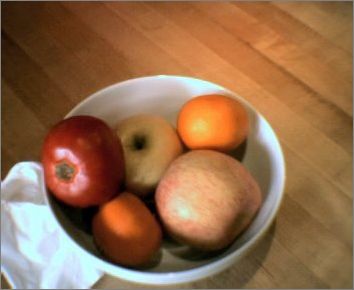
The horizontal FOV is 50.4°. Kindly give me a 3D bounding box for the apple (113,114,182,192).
[{"bbox_3d":[-0.060,0.009,0.701,0.104,0.124,0.145,-4,71,-7],"label":"apple"}]

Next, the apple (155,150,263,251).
[{"bbox_3d":[0.054,0.107,0.708,0.153,0.170,0.212,-2,91,32],"label":"apple"}]

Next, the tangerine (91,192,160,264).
[{"bbox_3d":[-0.083,0.147,0.645,0.083,0.092,0.130,-23,80,-6],"label":"tangerine"}]

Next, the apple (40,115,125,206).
[{"bbox_3d":[-0.163,0.028,0.654,0.136,0.083,0.146,-8,72,0],"label":"apple"}]

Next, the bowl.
[{"bbox_3d":[0.043,0.040,0.690,0.319,0.153,0.416,-7,58,0],"label":"bowl"}]
